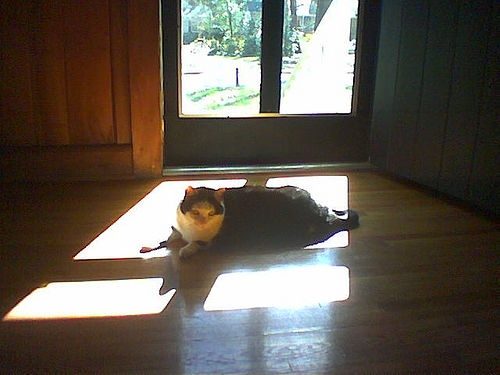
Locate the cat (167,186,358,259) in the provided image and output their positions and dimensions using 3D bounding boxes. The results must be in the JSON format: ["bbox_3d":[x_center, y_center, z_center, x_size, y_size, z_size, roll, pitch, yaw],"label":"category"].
[{"bbox_3d":[0.043,0.129,1.687,0.810,0.309,0.259,1,25,-9],"label":"cat"}]
